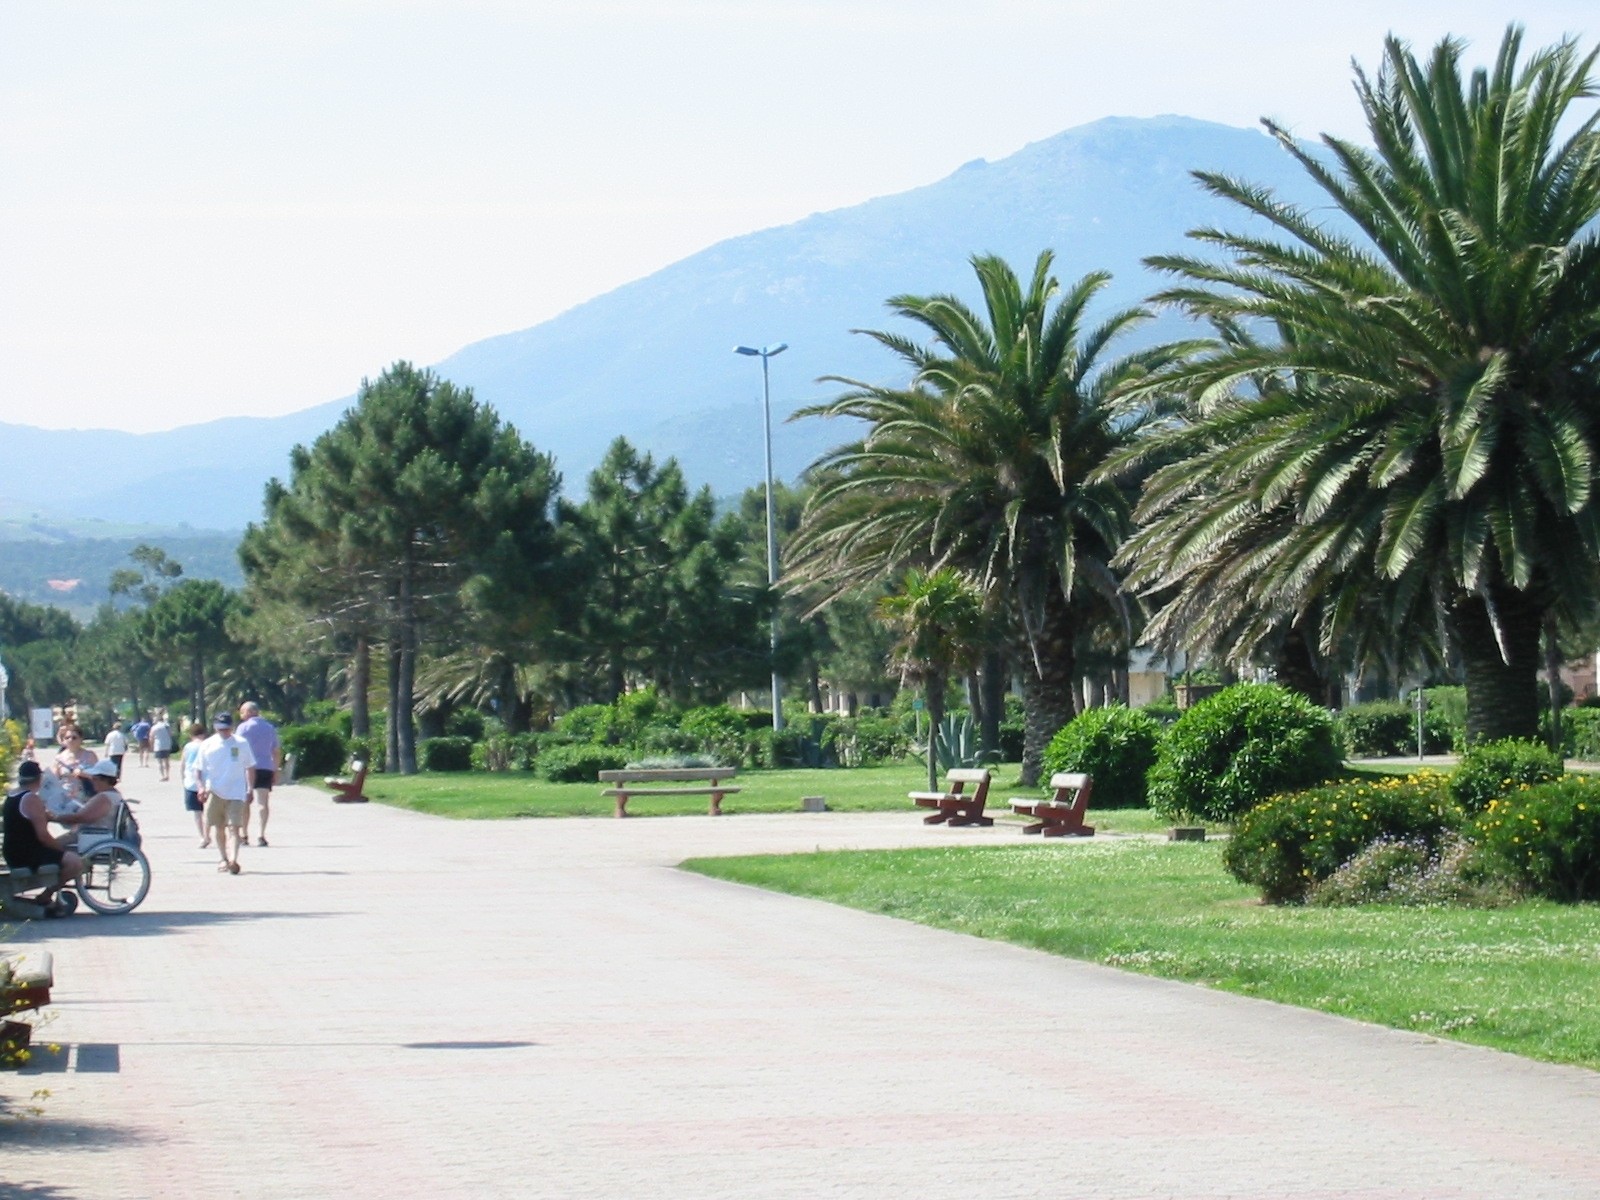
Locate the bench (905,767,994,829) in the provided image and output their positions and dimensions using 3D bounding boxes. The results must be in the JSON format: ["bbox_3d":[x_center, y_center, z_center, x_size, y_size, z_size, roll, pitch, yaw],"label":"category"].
[{"bbox_3d":[2.423,3.188,44.719,0.905,0.996,1.399,3,-7,-23],"label":"bench"}]

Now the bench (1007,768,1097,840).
[{"bbox_3d":[3.710,3.052,41.325,0.831,0.907,1.278,1,-5,-15],"label":"bench"}]

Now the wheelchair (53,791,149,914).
[{"bbox_3d":[-7.836,2.923,32.211,1.046,1.387,0.985,2,3,-18],"label":"wheelchair"}]
